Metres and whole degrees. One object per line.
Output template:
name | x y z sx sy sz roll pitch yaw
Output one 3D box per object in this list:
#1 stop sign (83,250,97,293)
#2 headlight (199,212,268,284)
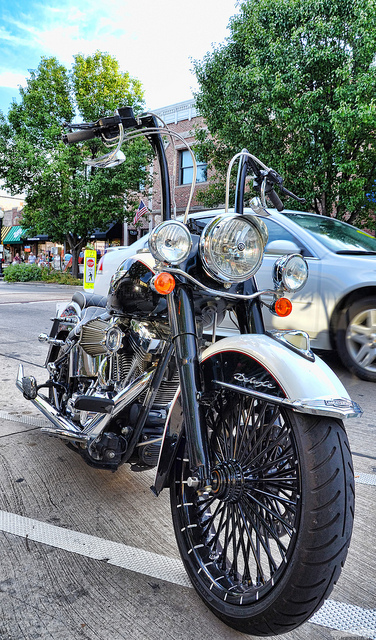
stop sign | -3.146 -1.528 14.808 0.339 1.527 0.133 0 -24 -7
headlight | 0.157 -0.255 1.634 0.238 0.236 0.072 1 2 -31
